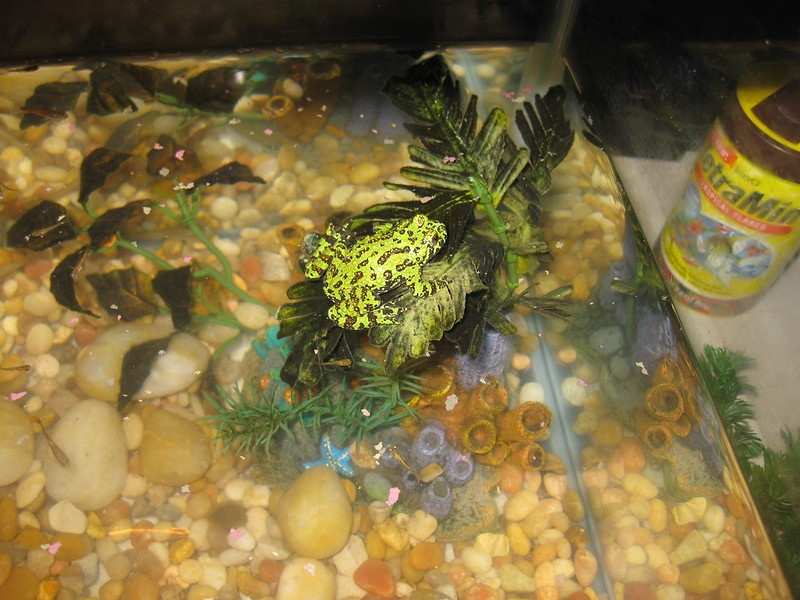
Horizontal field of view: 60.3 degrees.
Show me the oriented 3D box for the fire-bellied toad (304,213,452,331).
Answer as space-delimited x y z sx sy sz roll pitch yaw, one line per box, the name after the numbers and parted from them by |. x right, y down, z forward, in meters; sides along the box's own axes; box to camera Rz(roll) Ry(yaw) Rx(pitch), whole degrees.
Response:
-0.040 -0.058 1.834 0.319 0.112 0.316 -27 67 -1 | fire-bellied toad
